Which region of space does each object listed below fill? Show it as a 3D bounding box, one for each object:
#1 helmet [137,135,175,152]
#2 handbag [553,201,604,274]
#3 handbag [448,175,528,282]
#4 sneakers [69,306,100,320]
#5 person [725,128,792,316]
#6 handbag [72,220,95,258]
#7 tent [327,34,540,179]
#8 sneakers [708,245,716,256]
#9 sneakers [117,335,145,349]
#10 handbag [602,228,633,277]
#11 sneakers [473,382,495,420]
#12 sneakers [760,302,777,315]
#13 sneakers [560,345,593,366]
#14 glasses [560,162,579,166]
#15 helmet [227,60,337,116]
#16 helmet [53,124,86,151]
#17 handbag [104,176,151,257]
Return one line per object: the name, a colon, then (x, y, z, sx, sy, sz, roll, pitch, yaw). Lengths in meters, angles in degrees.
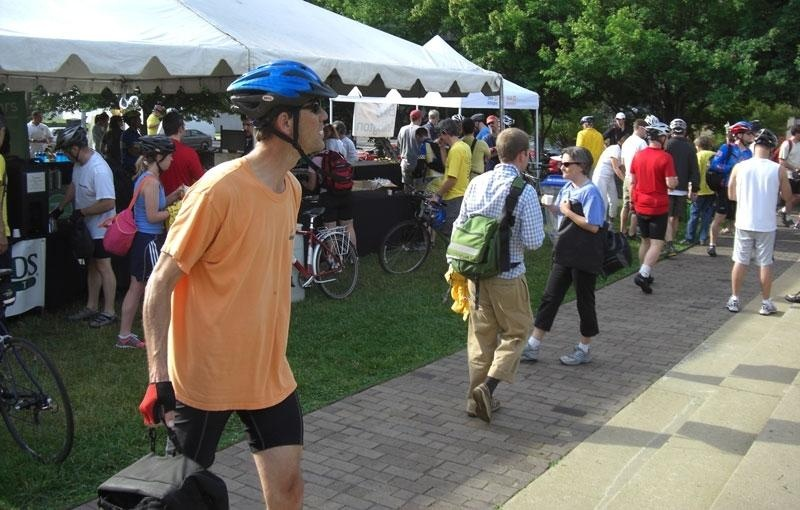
helmet: (-2.860, -1.309, 7.619, 0.317, 0.120, 0.230, 8, 10, 2)
handbag: (2.057, -0.196, 7.437, 0.667, 0.929, 0.493, 9, 1, 23)
handbag: (0.886, -0.289, 6.580, 0.557, 1.059, 0.634, 6, -1, -37)
sneakers: (-4.128, 0.754, 8.521, 0.310, 0.145, 0.143, 2, 4, -22)
person: (5.140, -0.502, 9.402, 0.789, 2.582, 0.996, 6, 13, 28)
handbag: (-3.975, -0.227, 8.166, 0.255, 0.495, 0.334, -13, 17, -28)
tent: (0.450, -3.925, 16.960, 5.004, 3.046, 5.562, 6, -4, -13)
sneakers: (5.986, -0.083, 12.483, 0.093, 0.122, 0.285, 1, 9, 21)
sneakers: (-3.229, 1.040, 7.850, 0.364, 0.174, 0.141, 4, 2, -13)
handbag: (2.592, -0.043, 7.759, 0.276, 0.535, 0.582, 5, 13, 23)
sneakers: (0.811, 1.449, 6.405, 0.172, 0.380, 0.153, 4, 12, 19)
sneakers: (5.225, 0.756, 9.237, 0.120, 0.146, 0.316, 6, 13, 40)
sneakers: (2.095, 1.194, 7.794, 0.388, 0.198, 0.186, -2, 3, -14)
glasses: (1.941, -1.050, 7.462, 0.221, 0.052, 0.070, 12, 17, 43)
helmet: (-0.797, -1.107, 4.264, 0.557, 0.252, 0.388, -5, 17, -2)
helmet: (-4.112, -1.477, 8.124, 0.343, 0.293, 0.411, -7, 14, -28)
handbag: (-3.293, -0.476, 7.924, 0.297, 1.285, 0.542, 16, -27, -13)
